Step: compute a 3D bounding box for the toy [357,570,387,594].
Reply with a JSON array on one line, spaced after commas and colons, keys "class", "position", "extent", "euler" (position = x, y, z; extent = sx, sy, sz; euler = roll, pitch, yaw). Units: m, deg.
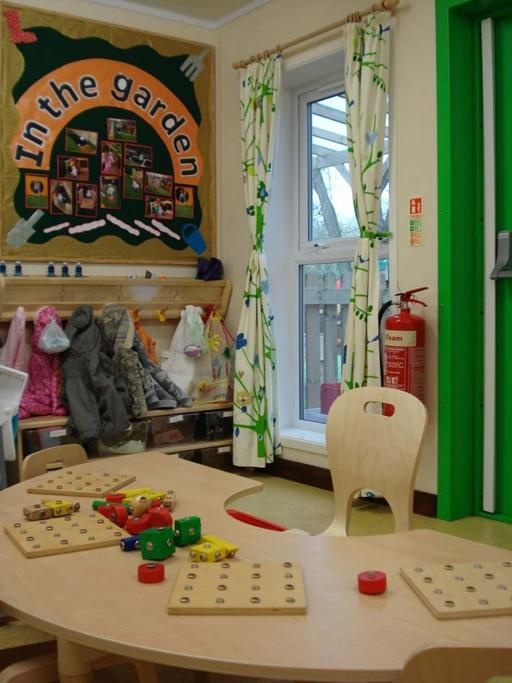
[{"class": "toy", "position": [0.168, 0.348, 0.823], "extent": [0.029, 0.028, 0.029], "euler": [-1, -1, 6]}]

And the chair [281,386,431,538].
[{"class": "chair", "position": [0.273, 0.363, 1.531], "extent": [0.285, 0.407, 0.285], "euler": [3, 5, 34]}]
